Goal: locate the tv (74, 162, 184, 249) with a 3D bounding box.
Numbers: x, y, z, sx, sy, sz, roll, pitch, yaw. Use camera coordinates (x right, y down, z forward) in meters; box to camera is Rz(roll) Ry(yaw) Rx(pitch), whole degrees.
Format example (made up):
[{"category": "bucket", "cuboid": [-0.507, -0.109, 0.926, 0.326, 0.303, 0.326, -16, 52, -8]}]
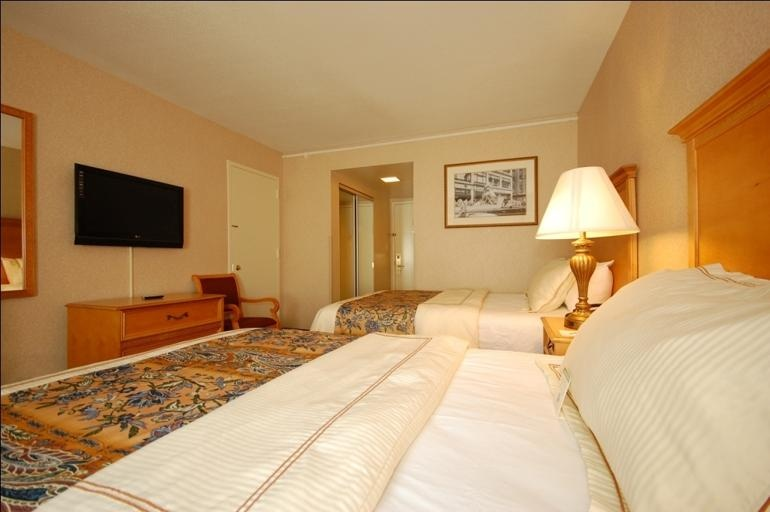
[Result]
[{"category": "tv", "cuboid": [-1.959, -0.369, 3.470, 0.087, 0.513, 0.810, -1, -1, 31]}]
